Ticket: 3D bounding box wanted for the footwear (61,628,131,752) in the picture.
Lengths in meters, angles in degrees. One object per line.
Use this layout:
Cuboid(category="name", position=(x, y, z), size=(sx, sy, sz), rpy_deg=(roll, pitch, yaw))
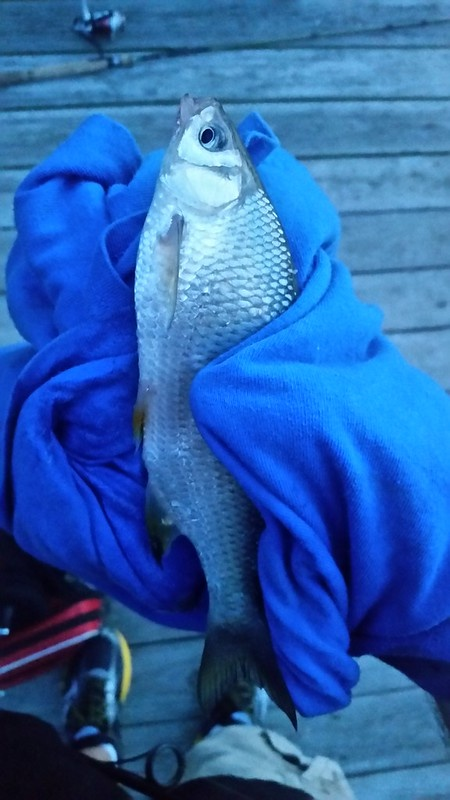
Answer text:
Cuboid(category="footwear", position=(-0.155, 0.350, 1.167), size=(0.061, 0.061, 0.143), rpy_deg=(9, 76, -5))
